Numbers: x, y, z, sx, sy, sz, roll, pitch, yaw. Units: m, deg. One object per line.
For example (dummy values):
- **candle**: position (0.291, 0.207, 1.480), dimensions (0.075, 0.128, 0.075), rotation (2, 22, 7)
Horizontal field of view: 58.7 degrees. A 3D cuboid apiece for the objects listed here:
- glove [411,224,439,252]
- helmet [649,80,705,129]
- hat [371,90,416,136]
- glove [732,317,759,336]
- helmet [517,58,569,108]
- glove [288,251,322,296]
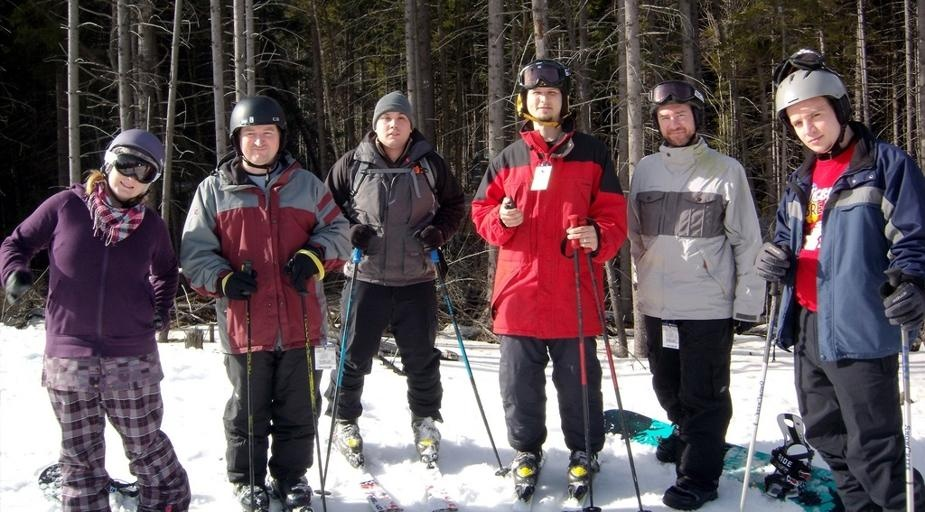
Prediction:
- **glove**: position (-0.434, -0.236, 10.513), dimensions (0.359, 0.325, 0.147), rotation (-2, -1, -4)
- **helmet**: position (2.737, -1.916, 10.378), dimensions (0.514, 0.676, 0.432), rotation (0, 18, 16)
- **hat**: position (-0.901, -1.847, 10.729), dimensions (0.483, 0.476, 0.514), rotation (2, 1, -2)
- **glove**: position (3.497, 0.868, 10.146), dimensions (0.290, 0.111, 0.293), rotation (-2, 4, 2)
- **helmet**: position (1.026, -2.135, 10.283), dimensions (0.453, 0.436, 0.546), rotation (-1, -15, 11)
- **glove**: position (-1.877, 0.171, 9.834), dimensions (0.430, 0.504, 0.161), rotation (-1, -1, -20)
